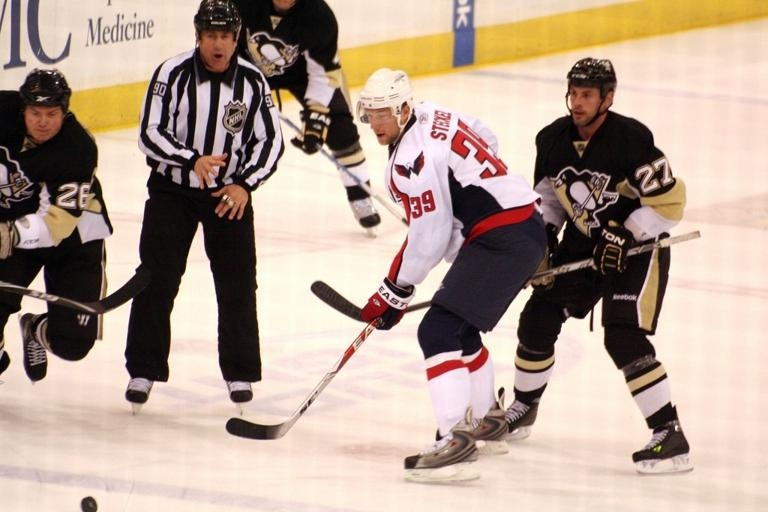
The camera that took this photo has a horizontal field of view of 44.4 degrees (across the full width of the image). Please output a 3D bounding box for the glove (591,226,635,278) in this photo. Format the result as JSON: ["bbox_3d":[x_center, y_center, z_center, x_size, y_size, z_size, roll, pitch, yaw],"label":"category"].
[{"bbox_3d":[0.898,-0.026,3.668,0.144,0.188,0.121,6,14,13],"label":"glove"}]

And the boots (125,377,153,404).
[{"bbox_3d":[-1.018,0.560,3.917,0.063,0.056,0.151,5,15,-9],"label":"boots"}]

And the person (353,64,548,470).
[{"bbox_3d":[0.245,0.061,3.549,0.742,1.491,0.513,2,14,-2],"label":"person"}]

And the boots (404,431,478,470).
[{"bbox_3d":[0.225,0.721,3.509,0.288,0.114,0.087,-10,-9,14],"label":"boots"}]

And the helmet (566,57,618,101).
[{"bbox_3d":[0.830,-0.724,3.782,0.207,0.187,0.154,-3,5,-12],"label":"helmet"}]

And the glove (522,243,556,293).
[{"bbox_3d":[0.617,0.044,3.892,0.068,0.169,0.131,28,13,-4],"label":"glove"}]

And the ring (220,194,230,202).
[{"bbox_3d":[-0.659,-0.251,3.932,0.036,0.029,0.008,11,5,5],"label":"ring"}]

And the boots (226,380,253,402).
[{"bbox_3d":[-0.616,0.579,4.044,0.058,0.060,0.147,0,12,-13],"label":"boots"}]

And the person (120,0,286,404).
[{"bbox_3d":[-0.743,-0.211,3.895,0.617,1.664,0.342,1,14,-7],"label":"person"}]

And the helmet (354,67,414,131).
[{"bbox_3d":[0.018,-0.616,3.588,0.251,0.214,0.202,-21,23,-31],"label":"helmet"}]

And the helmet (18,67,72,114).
[{"bbox_3d":[-1.284,-0.658,3.682,0.199,0.175,0.156,-15,46,1],"label":"helmet"}]

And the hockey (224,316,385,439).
[{"bbox_3d":[-0.306,0.492,3.770,0.210,0.842,0.118,30,27,-12],"label":"hockey"}]

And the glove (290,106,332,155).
[{"bbox_3d":[-0.415,-0.772,5.718,0.135,0.259,0.278,19,-6,-34],"label":"glove"}]

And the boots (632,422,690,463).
[{"bbox_3d":[1.052,0.702,3.601,0.256,0.137,0.082,-10,3,-13],"label":"boots"}]

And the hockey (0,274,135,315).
[{"bbox_3d":[-1.363,0.166,4.037,0.723,0.184,0.038,-13,-36,39],"label":"hockey"}]
